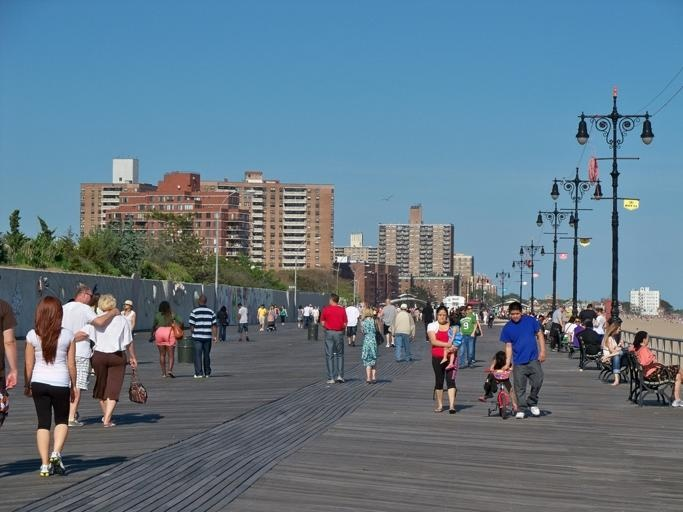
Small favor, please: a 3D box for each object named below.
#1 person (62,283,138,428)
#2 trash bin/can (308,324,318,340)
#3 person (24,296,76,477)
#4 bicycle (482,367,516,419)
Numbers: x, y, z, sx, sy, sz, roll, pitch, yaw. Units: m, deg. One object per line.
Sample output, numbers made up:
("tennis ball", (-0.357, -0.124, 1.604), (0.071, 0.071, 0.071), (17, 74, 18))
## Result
("person", (-4.689, 1.743, 22.204), (0.980, 2.657, 1.081), (1, -1, -9))
("trash bin/can", (-1.255, 3.386, 54.413), (0.362, 0.705, 0.694), (-1, 0, 20))
("person", (-4.575, 2.015, 19.118), (0.801, 2.690, 0.827), (2, -1, -9))
("bicycle", (3.267, 2.788, 24.943), (0.511, 0.659, 1.032), (-3, -8, -3))
